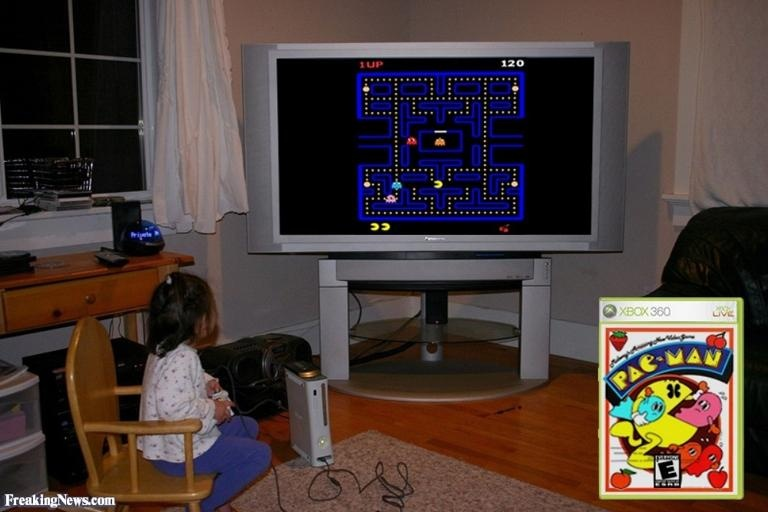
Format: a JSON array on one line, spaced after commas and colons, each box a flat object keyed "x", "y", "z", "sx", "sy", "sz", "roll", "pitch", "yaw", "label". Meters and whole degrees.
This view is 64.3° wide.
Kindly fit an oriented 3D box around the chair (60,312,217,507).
[{"x": -0.985, "y": 0.611, "z": 2.362, "sx": 0.623, "sy": 0.726, "sz": 0.378, "roll": 12, "pitch": 19, "yaw": 39, "label": "chair"}]

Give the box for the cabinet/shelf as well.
[{"x": 0.333, "y": 0.421, "z": 3.941, "sx": 1.095, "sy": 0.604, "sz": 1.092, "roll": 2, "pitch": 6, "yaw": 26, "label": "cabinet/shelf"}]
